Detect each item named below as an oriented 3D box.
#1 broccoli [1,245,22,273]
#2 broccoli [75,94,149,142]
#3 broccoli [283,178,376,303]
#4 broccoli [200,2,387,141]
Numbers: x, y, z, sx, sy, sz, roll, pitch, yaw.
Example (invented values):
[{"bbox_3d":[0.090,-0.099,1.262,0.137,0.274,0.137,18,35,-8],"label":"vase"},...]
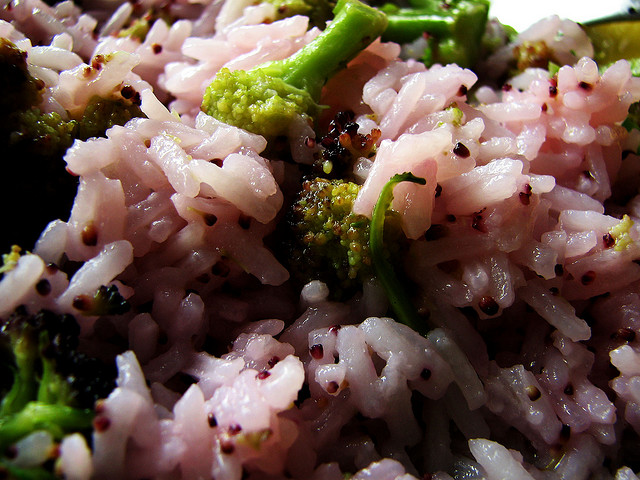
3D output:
[{"bbox_3d":[-0.638,0.041,1.284,0.019,0.038,0.058,1,77,45],"label":"broccoli"},{"bbox_3d":[-0.522,-0.277,1.515,0.125,0.038,0.134,-26,75,-27],"label":"broccoli"},{"bbox_3d":[0.016,-0.003,1.400,0.206,0.119,0.277,-3,96,9],"label":"broccoli"},{"bbox_3d":[-0.066,-0.414,1.608,0.250,0.169,0.514,43,66,3],"label":"broccoli"}]
